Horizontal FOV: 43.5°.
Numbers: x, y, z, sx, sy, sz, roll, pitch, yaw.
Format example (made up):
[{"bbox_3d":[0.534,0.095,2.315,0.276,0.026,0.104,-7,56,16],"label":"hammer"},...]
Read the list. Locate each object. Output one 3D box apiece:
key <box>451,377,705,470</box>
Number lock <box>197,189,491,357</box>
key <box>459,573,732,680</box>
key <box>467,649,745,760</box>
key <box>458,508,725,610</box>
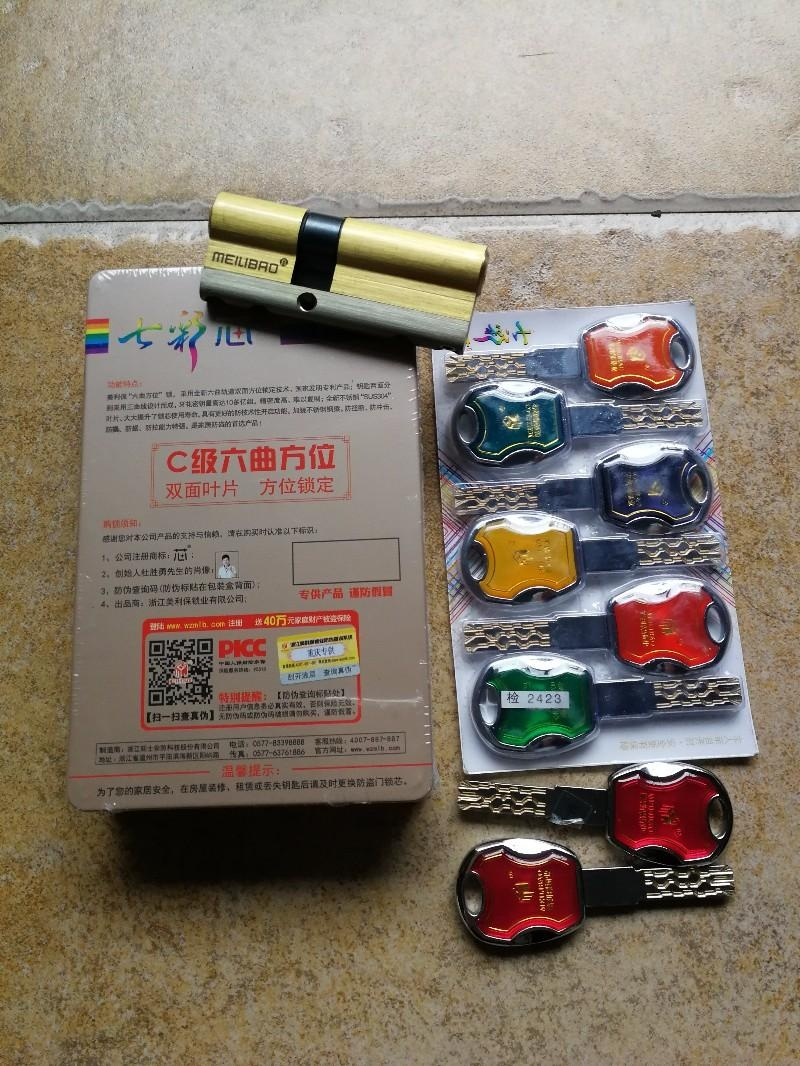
[{"bbox_3d":[0.185,-0.132,1.152,0.312,0.031,0.101,-4,77,-5],"label":"key"},{"bbox_3d":[-0.059,-0.265,1.054,0.350,0.104,0.136,10,71,1],"label":"Number lock"},{"bbox_3d":[0.185,0.116,1.115,0.334,0.023,0.104,-4,75,-2],"label":"key"},{"bbox_3d":[0.227,0.195,1.109,0.295,0.057,0.104,2,58,-3],"label":"key"},{"bbox_3d":[0.221,0.023,1.131,0.308,0.022,0.094,-5,77,-1],"label":"key"}]
